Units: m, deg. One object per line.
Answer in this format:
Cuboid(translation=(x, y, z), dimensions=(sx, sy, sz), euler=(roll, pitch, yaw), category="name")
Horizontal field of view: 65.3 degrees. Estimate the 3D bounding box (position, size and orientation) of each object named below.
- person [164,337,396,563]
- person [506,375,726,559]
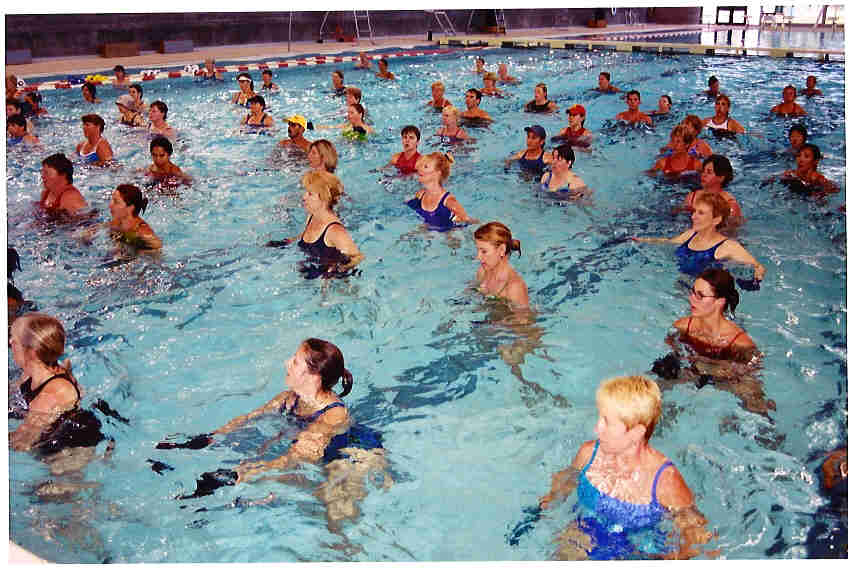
Cuboid(translation=(-1.011, 1.265, 5.806), dimensions=(1.300, 1.606, 0.766), euler=(1, 13, 22), category="person")
Cuboid(translation=(1.634, 1.563, 5.481), dimensions=(0.857, 1.211, 1.017), euler=(-20, 37, -18), category="person")
